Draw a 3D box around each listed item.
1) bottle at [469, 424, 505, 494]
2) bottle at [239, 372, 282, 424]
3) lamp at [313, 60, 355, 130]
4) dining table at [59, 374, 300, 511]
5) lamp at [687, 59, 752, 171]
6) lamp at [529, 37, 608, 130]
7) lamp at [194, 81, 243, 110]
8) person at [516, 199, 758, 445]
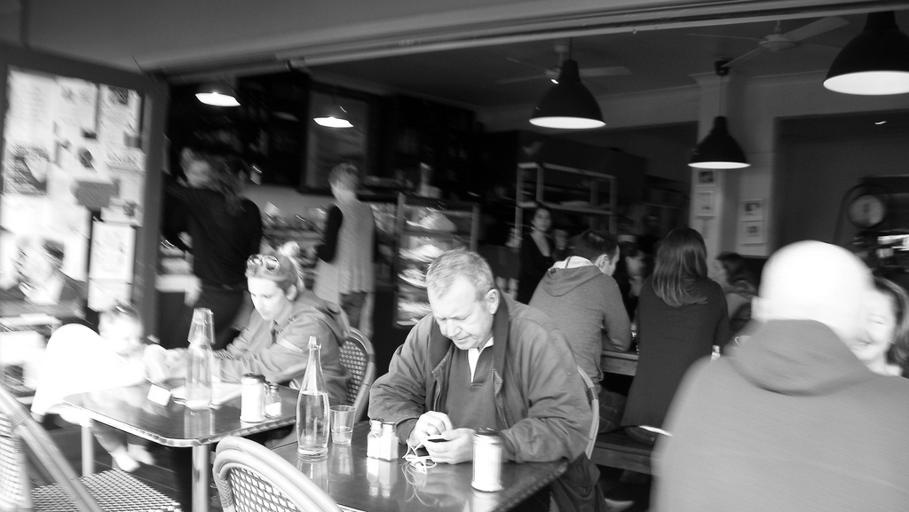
[{"bbox_3d":[0.149,0.885,3.248,0.247,0.296,0.219,1,-3,6],"label":"bottle"},{"bbox_3d":[-0.985,0.717,3.718,0.211,0.223,0.199,3,0,-26],"label":"bottle"},{"bbox_3d":[-1.031,-1.259,6.160,0.333,0.304,0.291,1,-3,-28],"label":"lamp"},{"bbox_3d":[-1.357,0.757,3.696,0.922,0.410,0.738,3,3,39],"label":"dining table"},{"bbox_3d":[2.250,-1.194,6.170,0.443,0.946,0.502,3,0,16],"label":"lamp"},{"bbox_3d":[0.942,-1.400,5.743,0.520,0.688,0.501,3,0,30],"label":"lamp"},{"bbox_3d":[-1.932,-1.338,5.966,0.099,0.189,0.395,3,0,31],"label":"lamp"},{"bbox_3d":[1.064,0.403,4.468,1.796,1.435,0.795,4,19,28],"label":"person"}]
